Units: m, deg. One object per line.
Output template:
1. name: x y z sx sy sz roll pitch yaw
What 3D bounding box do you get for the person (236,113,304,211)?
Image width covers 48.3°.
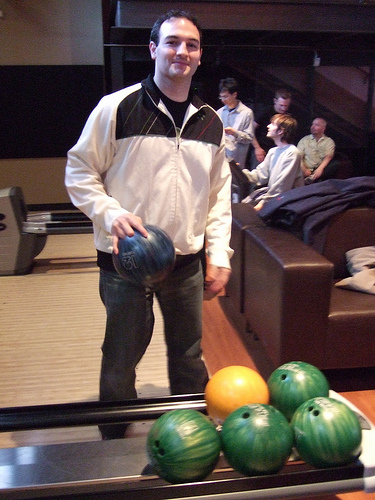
1. person: 0.746 -0.771 3.557 0.502 0.759 0.568 0 15 -5
